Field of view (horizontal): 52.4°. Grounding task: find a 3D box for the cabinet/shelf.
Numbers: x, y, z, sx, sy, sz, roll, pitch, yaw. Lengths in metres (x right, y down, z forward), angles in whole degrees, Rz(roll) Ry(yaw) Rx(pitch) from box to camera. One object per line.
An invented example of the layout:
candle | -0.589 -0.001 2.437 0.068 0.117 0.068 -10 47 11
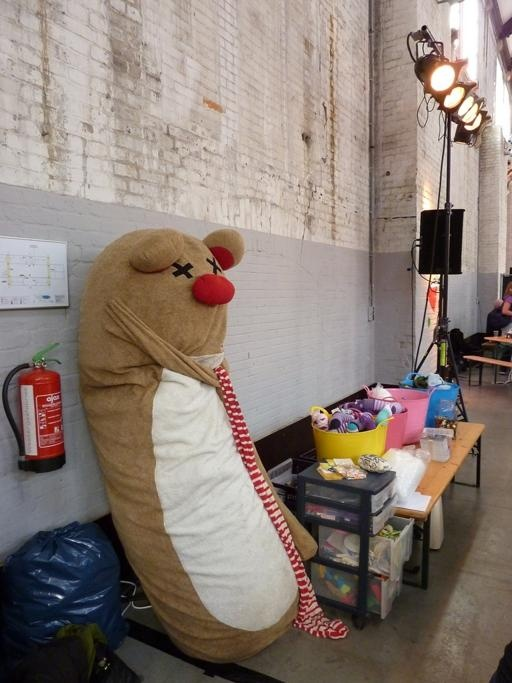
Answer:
cabinet/shelf | 0.375 0.718 2.168 0.574 0.672 0.430 2 9 31

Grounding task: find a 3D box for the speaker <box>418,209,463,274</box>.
speaker | 1.609 -0.870 4.490 0.339 0.569 0.706 1 6 9

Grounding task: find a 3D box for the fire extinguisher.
fire extinguisher | -0.709 0.224 1.707 0.145 0.434 0.273 0 6 8

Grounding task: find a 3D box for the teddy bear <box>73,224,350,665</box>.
teddy bear | -0.218 0.352 1.806 0.864 1.474 0.453 1 7 16
